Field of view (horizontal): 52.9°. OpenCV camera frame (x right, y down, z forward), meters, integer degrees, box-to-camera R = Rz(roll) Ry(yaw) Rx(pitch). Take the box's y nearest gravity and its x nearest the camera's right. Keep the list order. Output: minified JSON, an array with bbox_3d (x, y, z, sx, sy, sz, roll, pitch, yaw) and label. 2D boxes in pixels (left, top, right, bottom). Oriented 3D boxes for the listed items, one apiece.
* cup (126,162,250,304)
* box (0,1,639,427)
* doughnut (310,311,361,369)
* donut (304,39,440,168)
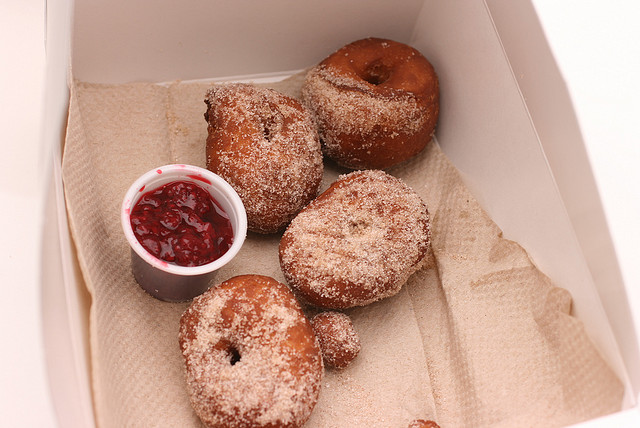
[{"bbox_3d":[-0.287,0.065,1.384,0.256,0.199,0.287,5,71,-20],"label":"cup"},{"bbox_3d":[-0.027,-0.094,1.372,1.231,0.390,1.015,-5,58,-9],"label":"box"},{"bbox_3d":[0.030,0.283,1.465,0.093,0.064,0.127,-30,85,-16],"label":"doughnut"},{"bbox_3d":[0.113,-0.302,1.613,0.297,0.166,0.315,-25,73,-18],"label":"donut"}]
